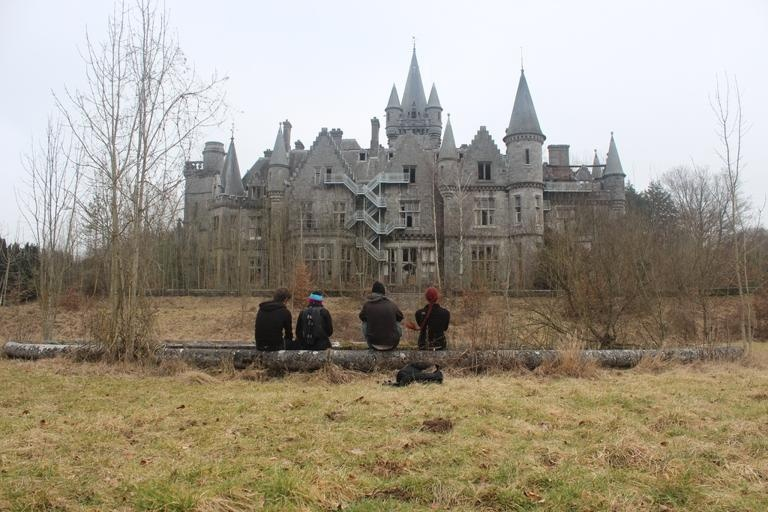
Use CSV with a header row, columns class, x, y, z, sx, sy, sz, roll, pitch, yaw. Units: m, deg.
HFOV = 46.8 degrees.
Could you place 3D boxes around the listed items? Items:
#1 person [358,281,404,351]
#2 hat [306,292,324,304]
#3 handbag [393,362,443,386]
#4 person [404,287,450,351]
class,x,y,z,sx,sy,sz,roll,pitch,yaw
person,-0.072,1.579,22.626,1.030,1.872,0.668,0,14,0
hat,-1.773,1.099,22.736,0.428,0.354,0.338,7,-2,41
handbag,0.815,2.839,21.424,1.187,0.389,0.886,-3,15,-12
person,1.223,1.657,22.679,0.807,1.696,0.366,2,14,6
